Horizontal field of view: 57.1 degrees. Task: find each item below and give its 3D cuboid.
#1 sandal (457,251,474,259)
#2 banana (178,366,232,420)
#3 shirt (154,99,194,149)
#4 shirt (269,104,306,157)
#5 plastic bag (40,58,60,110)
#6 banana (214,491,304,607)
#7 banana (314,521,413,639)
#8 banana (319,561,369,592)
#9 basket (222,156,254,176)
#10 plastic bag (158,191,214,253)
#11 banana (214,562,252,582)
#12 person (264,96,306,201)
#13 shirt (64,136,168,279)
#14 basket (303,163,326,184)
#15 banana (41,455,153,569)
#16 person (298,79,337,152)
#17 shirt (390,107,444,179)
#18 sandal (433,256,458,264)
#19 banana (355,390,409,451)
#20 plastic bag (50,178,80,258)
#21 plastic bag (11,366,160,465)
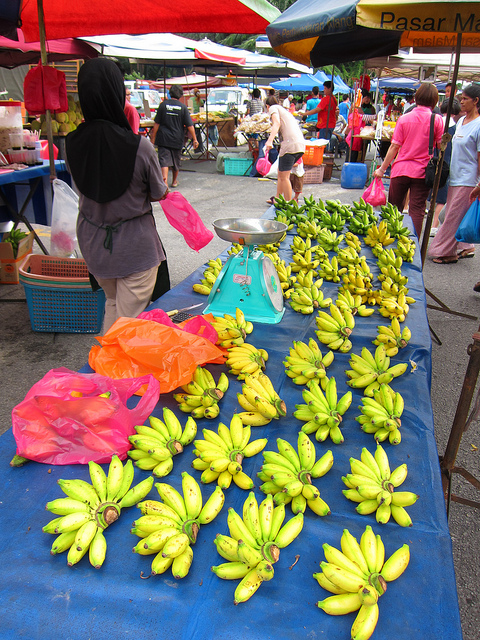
[{"bbox_3d":[3.377,-0.953,6.638,0.238,0.073,0.095,1,44,15],"label":"sandal"},{"bbox_3d":[-0.151,0.319,1.938,0.151,0.073,0.200,3,35,20],"label":"banana"},{"bbox_3d":[-1.397,-4.101,9.295,0.481,1.296,0.507,0,21,-4],"label":"shirt"},{"bbox_3d":[0.748,-3.144,7.498,0.502,0.946,0.494,-10,26,-32],"label":"shirt"},{"bbox_3d":[-1.879,-2.293,4.373,0.229,0.343,0.103,14,15,43],"label":"plastic bag"},{"bbox_3d":[0.038,0.631,1.231,0.087,0.223,0.164,36,3,-18],"label":"banana"},{"bbox_3d":[0.314,0.669,1.150,0.162,0.071,0.206,5,27,25],"label":"banana"},{"bbox_3d":[0.264,0.658,1.130,0.140,0.039,0.048,13,0,23],"label":"banana"},{"bbox_3d":[-0.115,-4.521,12.934,0.534,0.362,0.678,1,37,-1],"label":"basket"},{"bbox_3d":[-0.396,-0.743,3.227,0.227,0.580,0.178,2,37,39],"label":"plastic bag"},{"bbox_3d":[-0.017,0.669,1.171,0.104,0.070,0.033,5,30,8],"label":"banana"},{"bbox_3d":[0.763,-2.871,7.686,0.681,1.547,1.527,5,25,2],"label":"person"},{"bbox_3d":[-0.785,-0.749,2.854,0.593,0.889,0.521,0,18,-4],"label":"shirt"},{"bbox_3d":[1.949,-3.807,11.597,0.696,0.517,0.703,0,18,2],"label":"basket"},{"bbox_3d":[-0.446,0.568,1.346,0.189,0.089,0.266,-3,20,9],"label":"banana"},{"bbox_3d":[2.313,-5.616,12.845,0.861,2.332,0.718,1,18,2],"label":"person"},{"bbox_3d":[2.221,-2.223,5.545,0.583,0.875,0.332,13,38,18],"label":"shirt"},{"bbox_3d":[3.067,-0.867,6.527,0.257,0.062,0.106,-2,29,3],"label":"sandal"},{"bbox_3d":[0.588,0.392,1.841,0.170,0.100,0.299,1,29,21],"label":"banana"},{"bbox_3d":[-1.631,-0.963,4.167,0.314,0.795,0.395,-2,41,-18],"label":"plastic bag"},{"bbox_3d":[-0.600,0.446,1.726,0.532,0.222,0.430,13,1,-31],"label":"plastic bag"}]
